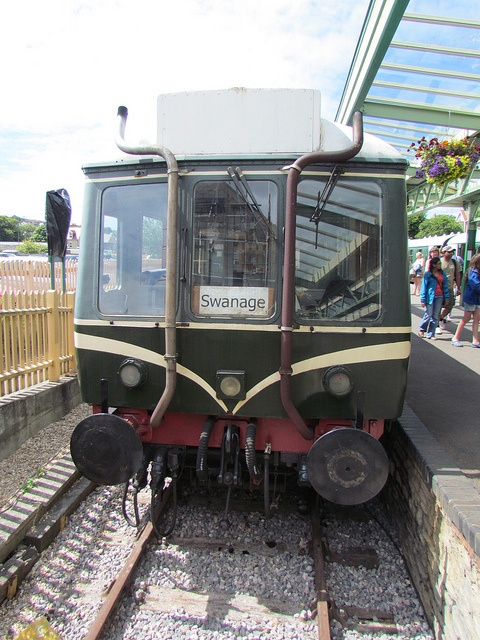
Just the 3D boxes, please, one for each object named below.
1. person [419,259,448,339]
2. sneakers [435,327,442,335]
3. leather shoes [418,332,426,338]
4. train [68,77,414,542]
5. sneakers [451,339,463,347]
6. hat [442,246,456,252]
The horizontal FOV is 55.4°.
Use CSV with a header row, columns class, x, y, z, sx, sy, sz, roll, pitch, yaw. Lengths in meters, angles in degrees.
class,x,y,z,sx,sy,sz,roll,pitch,yaw
person,3.267,-0.319,7.522,0.440,1.439,1.036,4,10,22
sneakers,3.760,0.204,8.488,0.102,0.088,0.201,-17,-16,8
leather shoes,3.363,0.263,8.277,0.081,0.132,0.286,0,-2,19
train,0.104,-0.454,4.535,1.508,2.265,3.587,1,6,5
sneakers,3.599,0.373,7.427,0.074,0.097,0.216,-1,-2,8
hat,3.500,-1.177,7.546,0.110,0.070,0.166,0,-4,-1
